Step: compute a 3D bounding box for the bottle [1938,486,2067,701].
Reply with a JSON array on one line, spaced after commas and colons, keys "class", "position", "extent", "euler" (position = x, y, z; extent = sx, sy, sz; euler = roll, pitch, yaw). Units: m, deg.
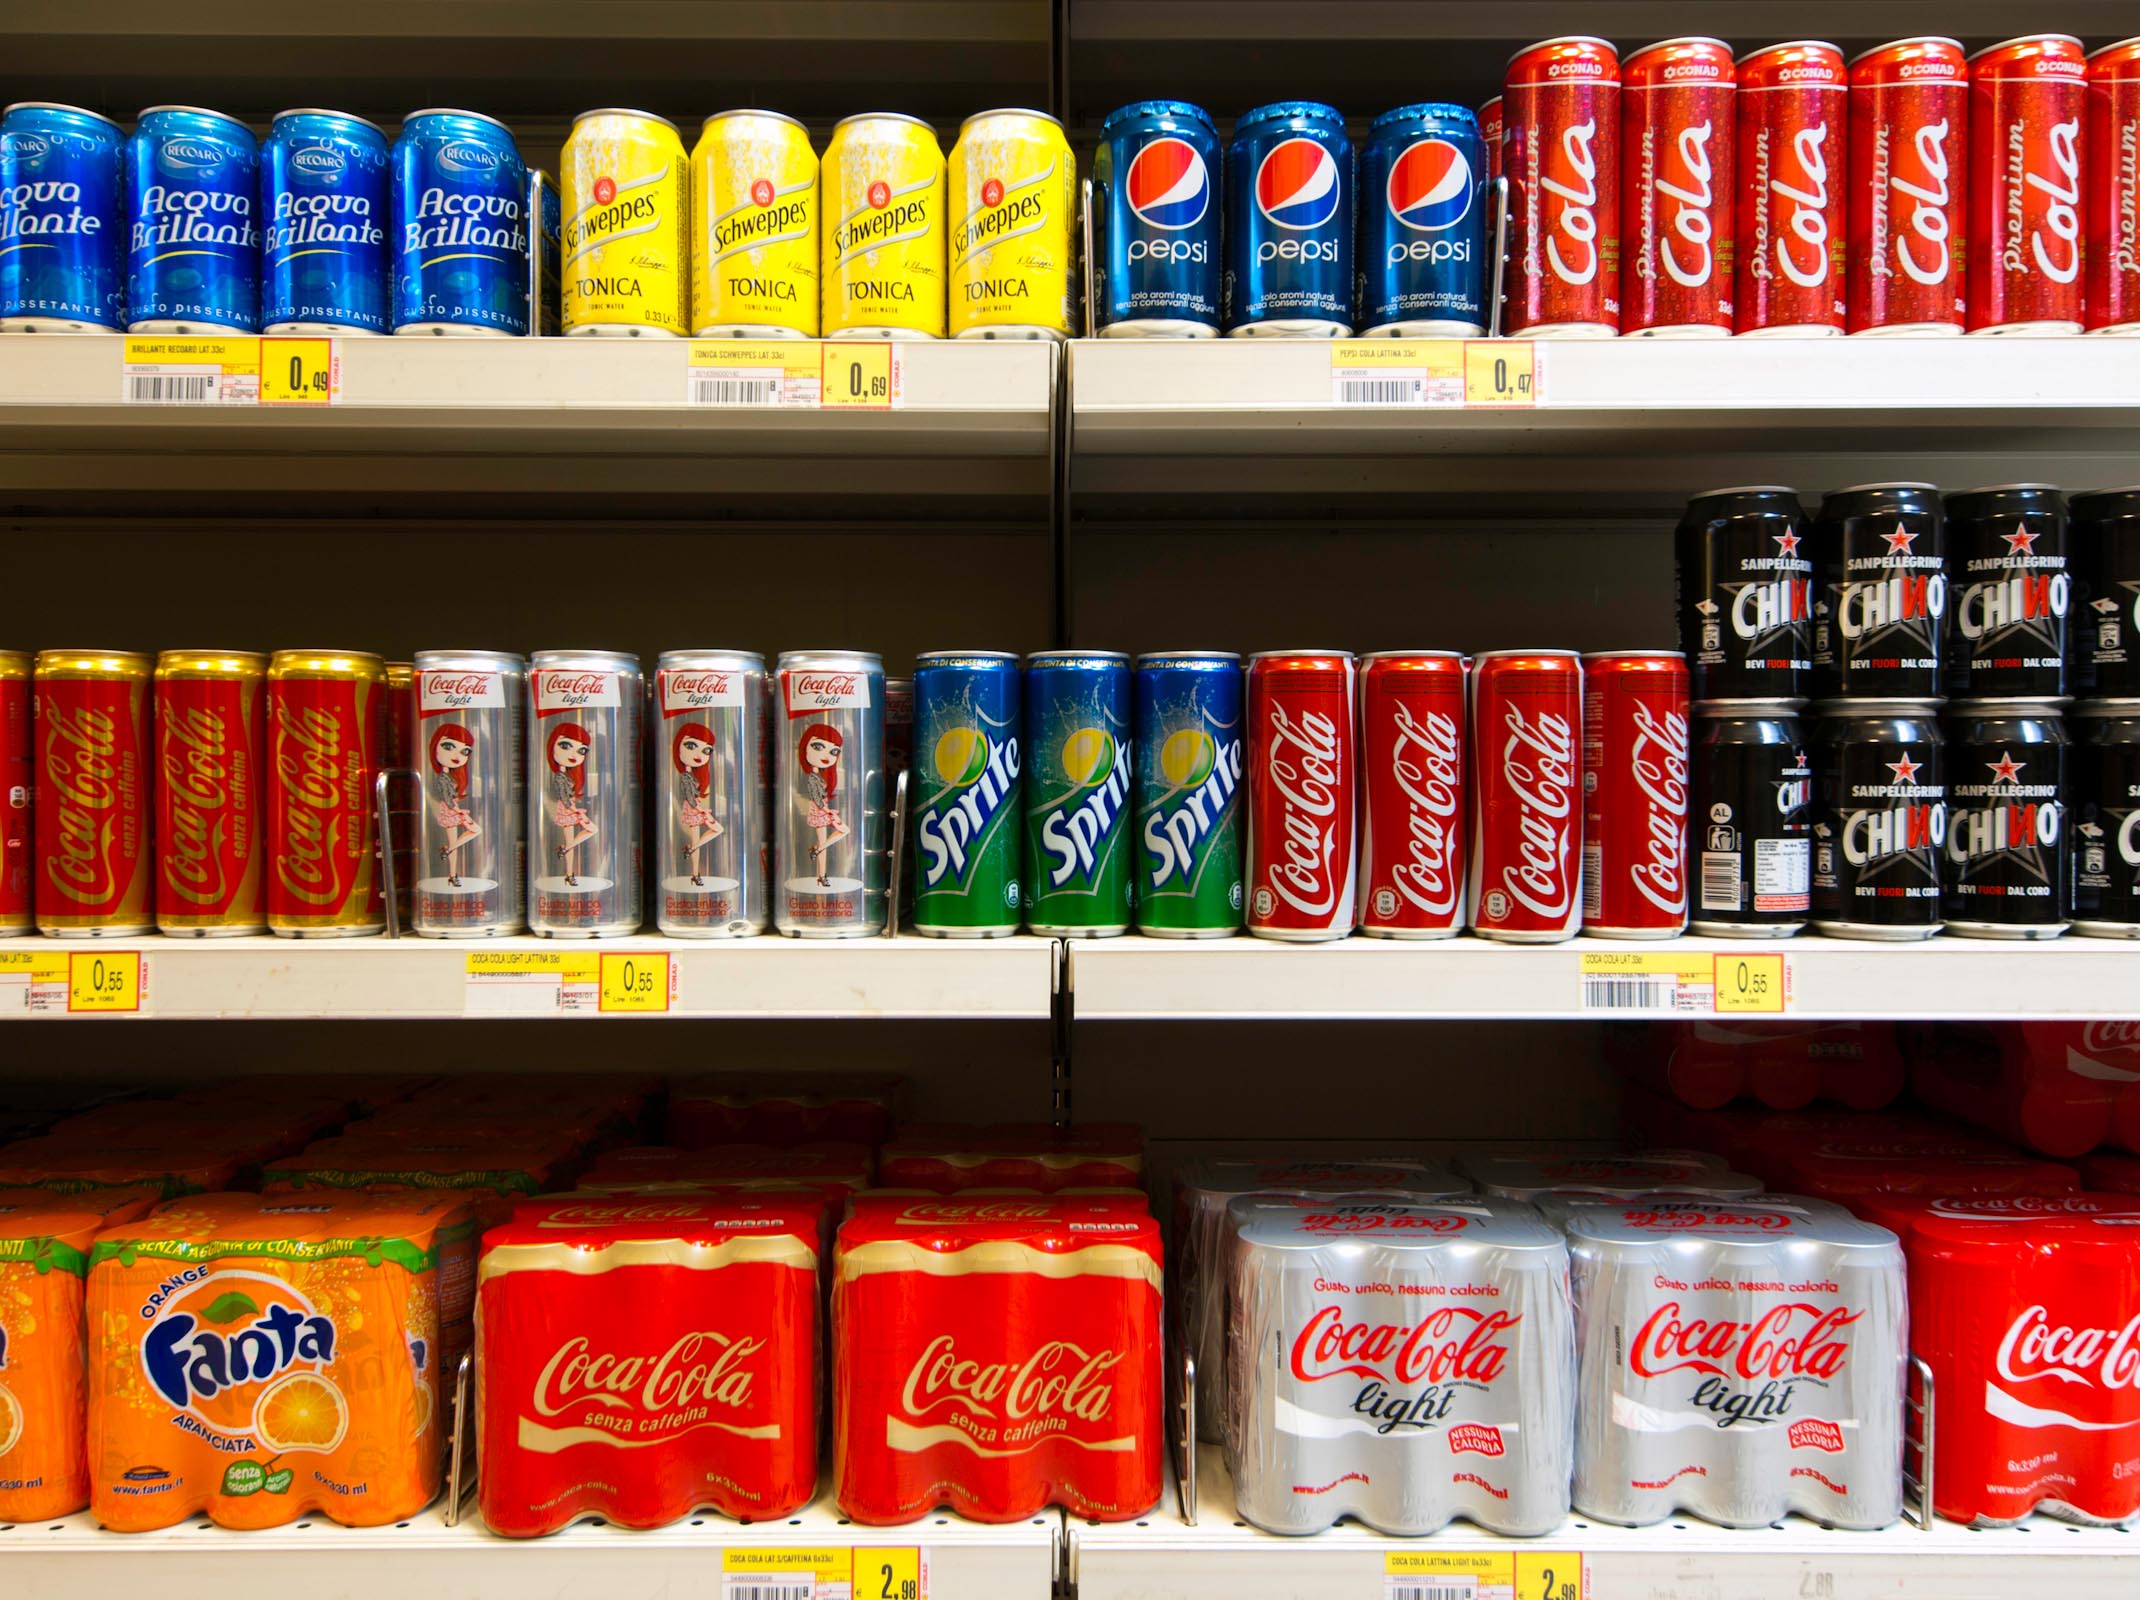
[{"class": "bottle", "position": [1.105, -0.245, 2.810], "extent": [0.134, 0.251, 0.054], "euler": [-3, 4, 12]}]

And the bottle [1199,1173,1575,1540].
[{"class": "bottle", "position": [0.395, 0.666, 2.877], "extent": [0.414, 0.295, 0.378], "euler": [0, 0, 0]}]

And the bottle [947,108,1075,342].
[{"class": "bottle", "position": [-0.076, -0.687, 2.840], "extent": [0.160, 0.274, 0.089], "euler": [-3, 4, 0]}]

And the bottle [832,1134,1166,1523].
[{"class": "bottle", "position": [-0.088, 0.650, 2.879], "extent": [0.404, 0.377, 0.292], "euler": [-3, 4, 0]}]

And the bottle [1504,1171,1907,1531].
[{"class": "bottle", "position": [0.782, 0.663, 2.903], "extent": [0.409, 0.297, 0.375], "euler": [0, -3, 0]}]

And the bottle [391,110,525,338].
[{"class": "bottle", "position": [-0.726, -0.688, 2.821], "extent": [0.169, 0.270, 0.072], "euler": [-4, 4, -10]}]

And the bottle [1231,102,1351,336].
[{"class": "bottle", "position": [0.261, -0.691, 2.835], "extent": [0.149, 0.284, 0.080], "euler": [-3, 4, 7]}]

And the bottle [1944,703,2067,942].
[{"class": "bottle", "position": [1.116, 0.021, 2.821], "extent": [0.167, 0.275, 0.099], "euler": [-3, 4, 2]}]

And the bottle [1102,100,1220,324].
[{"class": "bottle", "position": [0.105, -0.695, 2.840], "extent": [0.146, 0.283, 0.081], "euler": [-3, 4, 5]}]

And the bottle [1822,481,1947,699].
[{"class": "bottle", "position": [0.953, -0.245, 2.800], "extent": [0.140, 0.253, 0.045], "euler": [-3, 4, 12]}]

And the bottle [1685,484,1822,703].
[{"class": "bottle", "position": [0.800, -0.244, 2.819], "extent": [0.153, 0.251, 0.062], "euler": [-2, 4, 14]}]

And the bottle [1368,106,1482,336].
[{"class": "bottle", "position": [0.434, -0.701, 2.893], "extent": [0.221, 0.246, 0.203], "euler": [0, 6, 6]}]

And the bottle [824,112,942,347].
[{"class": "bottle", "position": [-0.225, -0.683, 2.823], "extent": [0.161, 0.269, 0.083], "euler": [-4, 4, -2]}]

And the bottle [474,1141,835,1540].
[{"class": "bottle", "position": [-0.491, 0.642, 2.818], "extent": [0.423, 0.266, 0.390], "euler": [-1, -2, 0]}]

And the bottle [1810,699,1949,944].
[{"class": "bottle", "position": [0.950, 0.024, 2.803], "extent": [0.150, 0.278, 0.063], "euler": [-2, 4, 14]}]

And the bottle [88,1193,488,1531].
[{"class": "bottle", "position": [-0.943, 0.669, 2.913], "extent": [0.421, 0.276, 0.385], "euler": [0, -3, 0]}]
